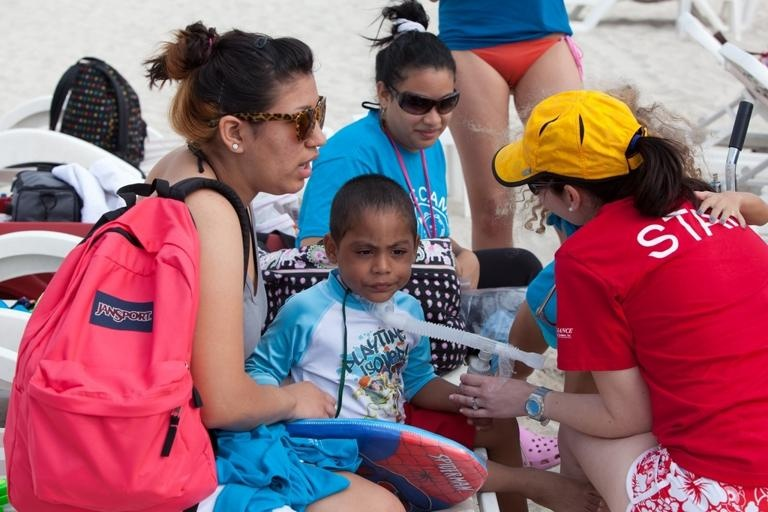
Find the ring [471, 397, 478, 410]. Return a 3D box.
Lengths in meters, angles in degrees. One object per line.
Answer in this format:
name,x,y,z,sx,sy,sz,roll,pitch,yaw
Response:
ring,0.337,0.544,3.020,0.029,0.039,0.016,-11,-3,39

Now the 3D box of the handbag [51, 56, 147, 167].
handbag,-1.724,-0.728,4.945,0.486,0.703,0.606,-2,-18,-15

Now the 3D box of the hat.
hat,0.662,-0.442,2.928,0.556,0.302,0.365,7,39,28

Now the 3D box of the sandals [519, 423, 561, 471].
sandals,0.660,0.811,3.455,0.234,0.100,0.118,-1,30,11
